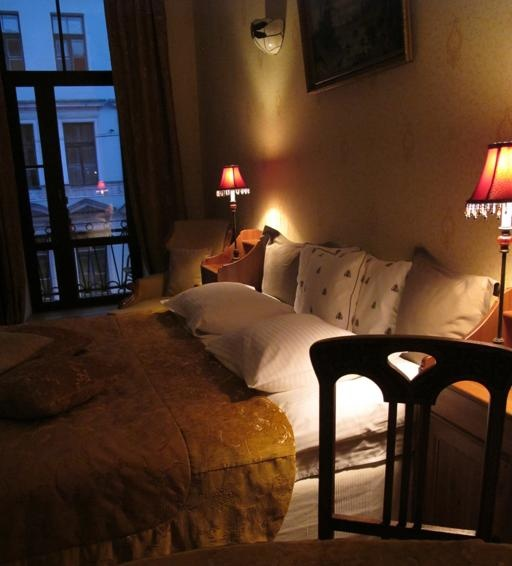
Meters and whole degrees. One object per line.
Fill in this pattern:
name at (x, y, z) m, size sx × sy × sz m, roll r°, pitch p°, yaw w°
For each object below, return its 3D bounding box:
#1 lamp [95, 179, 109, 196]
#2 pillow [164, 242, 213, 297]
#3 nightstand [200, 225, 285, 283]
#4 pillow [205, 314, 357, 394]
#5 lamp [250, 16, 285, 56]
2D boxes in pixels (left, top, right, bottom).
lamp at (-1.507, -0.927, 4.983) m, size 0.106 × 0.199 × 0.119 m, roll 7°, pitch 9°, yaw 42°
pillow at (-0.497, -0.098, 3.825) m, size 0.293 × 0.162 × 0.422 m, roll -9°, pitch 51°, yaw 0°
nightstand at (-0.154, -0.118, 3.642) m, size 0.337 × 0.556 × 0.493 m, roll 3°, pitch 5°, yaw -20°
pillow at (0.030, 0.236, 1.871) m, size 0.290 × 0.117 × 0.314 m, roll -19°, pitch 13°, yaw -24°
lamp at (0.076, -1.559, 3.225) m, size 0.104 × 0.222 × 0.385 m, roll -4°, pitch 14°, yaw -21°
